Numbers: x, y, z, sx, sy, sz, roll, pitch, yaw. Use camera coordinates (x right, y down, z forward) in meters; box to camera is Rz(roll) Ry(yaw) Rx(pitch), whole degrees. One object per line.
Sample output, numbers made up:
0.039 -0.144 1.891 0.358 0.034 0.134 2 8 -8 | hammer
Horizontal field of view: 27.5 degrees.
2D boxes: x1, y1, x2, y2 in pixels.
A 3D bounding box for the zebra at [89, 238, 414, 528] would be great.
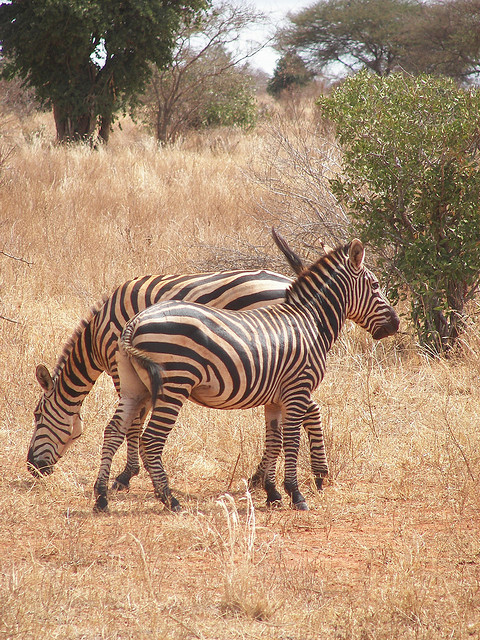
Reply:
0.139 0.476 6.130 1.381 1.383 0.454 2 -6 -27 | zebra
